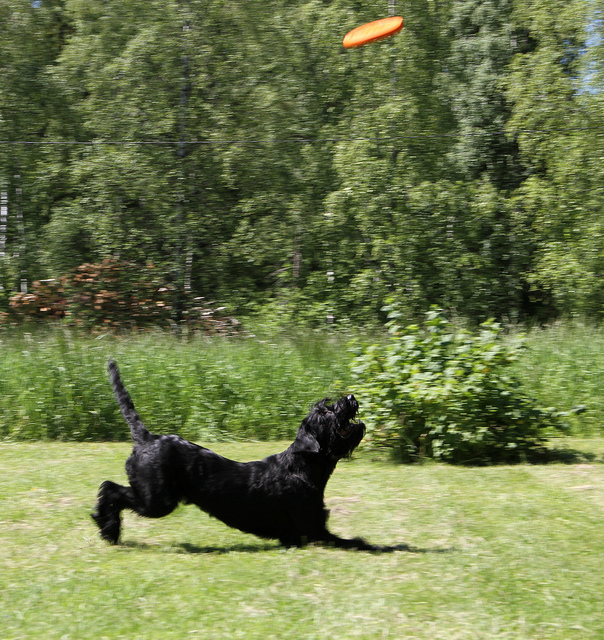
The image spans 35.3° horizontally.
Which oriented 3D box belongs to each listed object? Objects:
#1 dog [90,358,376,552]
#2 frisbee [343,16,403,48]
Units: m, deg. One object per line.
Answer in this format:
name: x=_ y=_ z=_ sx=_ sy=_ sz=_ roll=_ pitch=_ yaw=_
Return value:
dog: x=-0.324 y=0.888 z=5.750 sx=2.045 sy=1.060 sz=0.684 roll=0 pitch=4 yaw=31
frisbee: x=0.745 y=-3.013 z=9.883 sx=0.693 sy=0.080 sz=0.291 roll=-9 pitch=37 yaw=16
